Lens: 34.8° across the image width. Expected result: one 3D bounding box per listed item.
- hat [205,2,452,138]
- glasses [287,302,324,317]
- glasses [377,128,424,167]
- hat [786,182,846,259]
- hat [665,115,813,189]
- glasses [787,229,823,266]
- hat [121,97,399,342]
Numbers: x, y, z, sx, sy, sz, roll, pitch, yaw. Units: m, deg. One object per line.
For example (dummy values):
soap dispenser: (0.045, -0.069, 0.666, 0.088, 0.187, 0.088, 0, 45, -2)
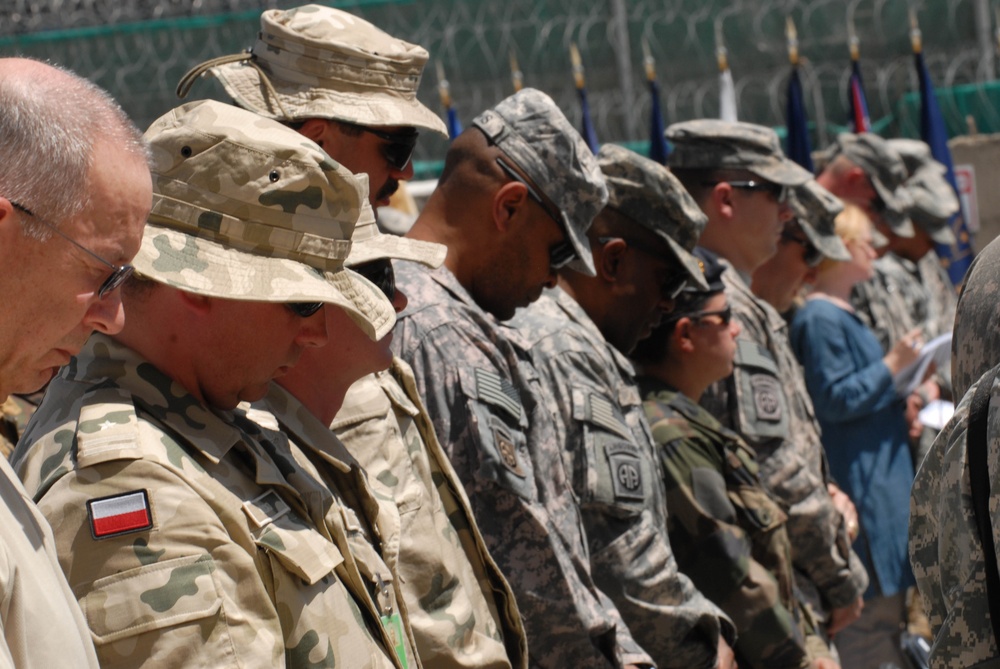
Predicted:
hat: (-0.627, -0.972, 5.915, 0.592, 0.218, 0.602, 21, 11, 22)
glasses: (-0.594, -0.077, 4.831, 0.059, 0.024, 0.063, 3, 10, 4)
glasses: (-0.386, -0.702, 5.916, 0.138, 0.145, 0.050, -2, 20, -42)
hat: (1.539, -0.551, 7.685, 0.397, 0.119, 0.255, 44, 27, -1)
hat: (1.072, -0.838, 7.274, 0.505, 0.185, 0.346, 11, 5, -1)
glasses: (1.472, -0.430, 7.753, 0.161, 0.050, 0.157, 33, 4, -1)
hat: (-0.734, -0.372, 4.877, 0.726, 0.409, 0.683, 20, 13, -3)
